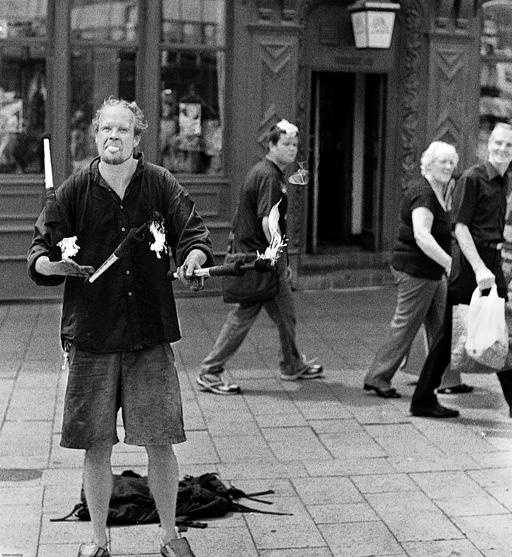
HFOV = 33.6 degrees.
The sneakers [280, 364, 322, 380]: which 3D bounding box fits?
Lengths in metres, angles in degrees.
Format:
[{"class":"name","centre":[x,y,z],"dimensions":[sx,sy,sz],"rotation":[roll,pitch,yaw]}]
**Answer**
[{"class":"sneakers","centre":[0.359,0.722,6.525],"dimensions":[0.277,0.143,0.133],"rotation":[-8,14,-14]}]

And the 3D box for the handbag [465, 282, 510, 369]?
[{"class":"handbag","centre":[1.455,0.306,5.270],"dimensions":[0.292,0.533,0.152],"rotation":[0,6,-11]}]

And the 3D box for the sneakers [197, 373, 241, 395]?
[{"class":"sneakers","centre":[-0.274,0.762,6.065],"dimensions":[0.263,0.139,0.144],"rotation":[6,8,6]}]
